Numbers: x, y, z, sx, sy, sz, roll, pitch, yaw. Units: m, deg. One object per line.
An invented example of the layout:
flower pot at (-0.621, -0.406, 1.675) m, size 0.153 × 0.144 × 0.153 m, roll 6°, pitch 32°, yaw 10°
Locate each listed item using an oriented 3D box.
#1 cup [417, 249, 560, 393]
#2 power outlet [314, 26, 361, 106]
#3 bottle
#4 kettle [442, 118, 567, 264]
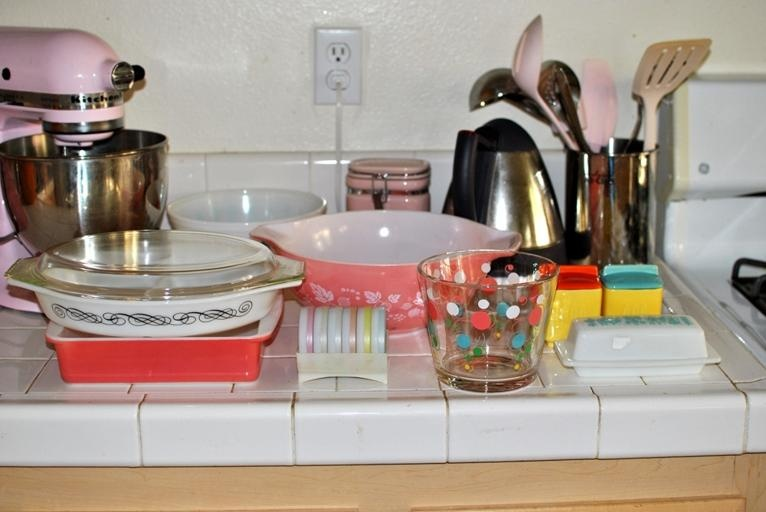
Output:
cup at (0.138, 0.086, 0.931) m, size 0.188 × 0.141 × 0.169 m, roll -2°, pitch 12°, yaw -12°
power outlet at (-0.087, -0.359, 1.250) m, size 0.124 × 0.180 × 0.043 m, roll -1°, pitch 11°, yaw -3°
bottle at (0.005, -0.113, 1.210) m, size 0.114 × 0.077 × 0.100 m, roll 0°, pitch 3°, yaw 0°
kettle at (0.196, -0.120, 1.115) m, size 0.219 × 0.225 × 0.177 m, roll -19°, pitch 22°, yaw -39°
